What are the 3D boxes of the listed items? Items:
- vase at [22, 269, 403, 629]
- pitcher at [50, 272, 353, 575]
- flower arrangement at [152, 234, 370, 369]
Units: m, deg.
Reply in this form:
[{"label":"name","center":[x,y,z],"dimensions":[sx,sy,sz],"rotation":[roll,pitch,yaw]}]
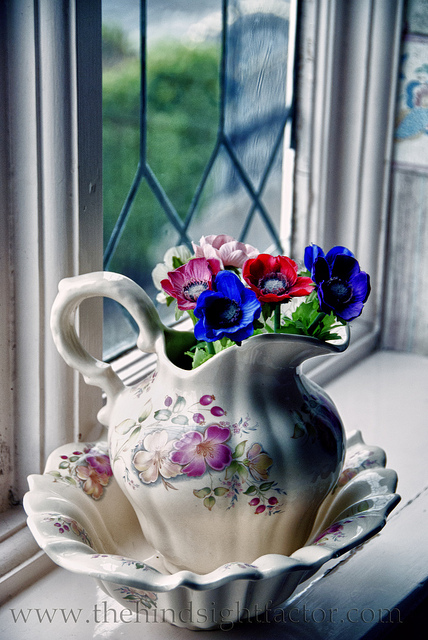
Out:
[{"label":"vase","center":[-0.003,0.102,0.490],"dimensions":[0.282,0.219,0.277],"rotation":[-3,6,2]},{"label":"pitcher","center":[-0.012,0.076,0.485],"dimensions":[0.236,0.195,0.179],"rotation":[3,13,12]},{"label":"flower arrangement","center":[0.040,-0.007,0.413],"dimensions":[0.141,0.078,0.138],"rotation":[-8,17,12]}]
